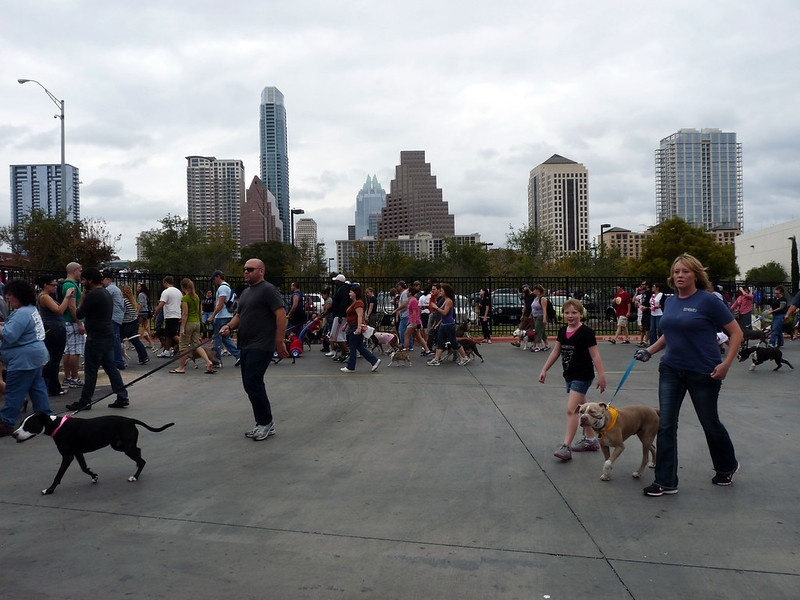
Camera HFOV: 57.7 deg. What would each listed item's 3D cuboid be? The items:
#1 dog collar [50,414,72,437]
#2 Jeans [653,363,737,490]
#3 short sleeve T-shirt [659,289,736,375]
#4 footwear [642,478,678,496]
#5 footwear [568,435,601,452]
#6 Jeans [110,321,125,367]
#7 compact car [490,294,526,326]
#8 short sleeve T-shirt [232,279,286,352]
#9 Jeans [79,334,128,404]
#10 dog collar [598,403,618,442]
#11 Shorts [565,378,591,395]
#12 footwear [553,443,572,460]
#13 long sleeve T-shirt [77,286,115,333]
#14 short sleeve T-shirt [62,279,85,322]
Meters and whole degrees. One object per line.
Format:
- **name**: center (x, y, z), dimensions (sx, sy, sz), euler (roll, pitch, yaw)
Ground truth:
- **dog collar**: center (-3.579, 1.339, 7.665), dimensions (0.158, 0.206, 0.047), euler (17, -19, -14)
- **Jeans**: center (3.059, 1.323, 7.707), dimensions (0.924, 1.273, 0.399), euler (-2, 7, -16)
- **short sleeve T-shirt**: center (3.087, 0.324, 7.797), dimensions (0.508, 0.907, 0.894), euler (3, -2, -36)
- **footwear**: center (2.706, 1.963, 7.562), dimensions (0.329, 0.156, 0.142), euler (4, -16, -2)
- **footwear**: center (2.295, 1.779, 8.957), dimensions (0.395, 0.194, 0.160), euler (-1, 1, 3)
- **Jeans**: center (-5.283, 0.829, 13.622), dimensions (0.283, 0.294, 1.074), euler (15, 35, -29)
- **compact car**: center (4.226, 0.322, 28.702), dimensions (0.945, 0.911, 1.716), euler (-1, -4, 5)
- **short sleeve T-shirt**: center (-1.918, 0.210, 9.722), dimensions (0.858, 0.968, 0.492), euler (-9, -11, 42)
- **Jeans**: center (-4.489, 1.028, 10.867), dimensions (0.571, 0.923, 0.603), euler (-3, 7, -25)
- **dog collar**: center (2.253, 1.333, 7.856), dimensions (0.118, 0.313, 0.223), euler (18, -24, -20)
- **Shorts**: center (2.110, 1.089, 8.587), dimensions (0.180, 0.191, 0.258), euler (19, -17, -11)
- **footwear**: center (1.908, 1.797, 8.483), dimensions (0.105, 0.124, 0.270), euler (-5, -17, 24)
- **long sleeve T-shirt**: center (-4.650, 0.255, 11.167), dimensions (0.528, 0.865, 0.707), euler (-6, -12, -15)
- **short sleeve T-shirt**: center (-5.448, 0.027, 12.135), dimensions (0.397, 0.738, 0.721), euler (-1, 1, -8)
